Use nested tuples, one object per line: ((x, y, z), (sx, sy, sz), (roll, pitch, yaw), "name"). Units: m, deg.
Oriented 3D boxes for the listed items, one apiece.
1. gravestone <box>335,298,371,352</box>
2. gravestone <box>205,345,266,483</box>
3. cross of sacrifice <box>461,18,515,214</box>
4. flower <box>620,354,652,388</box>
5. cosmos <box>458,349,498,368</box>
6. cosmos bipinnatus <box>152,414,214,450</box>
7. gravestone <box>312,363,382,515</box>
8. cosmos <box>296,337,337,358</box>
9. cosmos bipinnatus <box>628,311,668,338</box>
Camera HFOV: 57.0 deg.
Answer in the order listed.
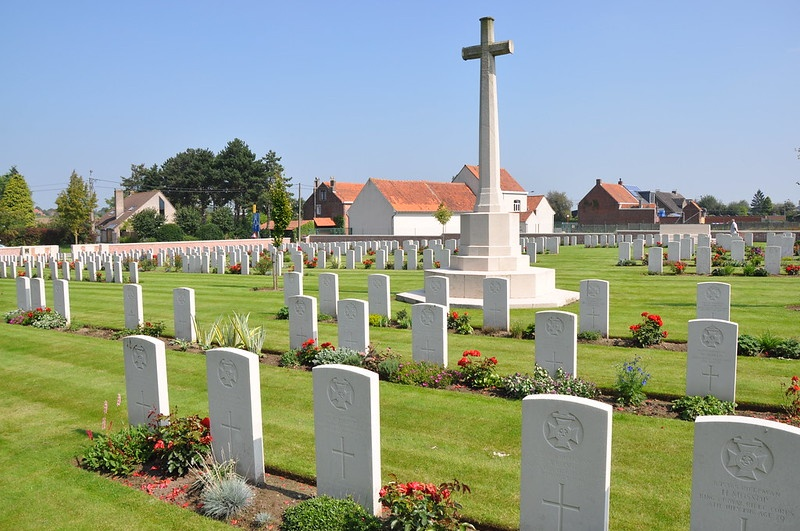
((-1.075, 1.305, 16.295), (0.754, 1.150, 0.363), (1, 2, 14), "gravestone")
((-2.720, 2.450, 12.198), (1.022, 2.146, 0.157), (1, 2, 23), "gravestone")
((2.748, -4.793, 24.319), (1.934, 6.497, 1.072), (-11, 21, -22), "cross of sacrifice")
((4.704, 2.108, 14.670), (0.427, 0.431, 0.486), (-2, -34, 2), "flower")
((1.580, 1.923, 15.085), (0.521, 0.302, 0.533), (2, -3, 26), "cosmos")
((-3.718, 2.771, 12.462), (0.995, 0.555, 0.879), (0, 2, -15), "cosmos bipinnatus")
((-0.839, 2.670, 11.479), (1.147, 2.230, 0.302), (2, 2, 24), "gravestone")
((-1.856, 1.825, 16.230), (0.518, 0.303, 0.529), (-2, 9, -38), "cosmos")
((5.877, 1.406, 17.339), (0.577, 0.640, 1.284), (2, 2, 34), "cosmos bipinnatus")
